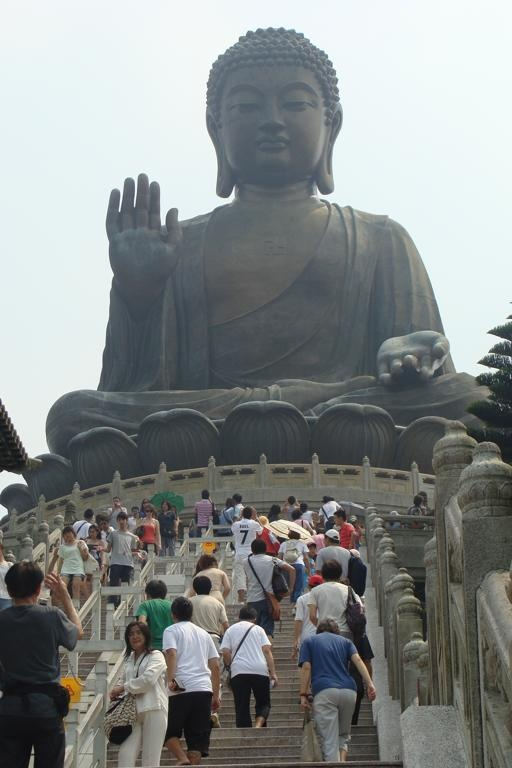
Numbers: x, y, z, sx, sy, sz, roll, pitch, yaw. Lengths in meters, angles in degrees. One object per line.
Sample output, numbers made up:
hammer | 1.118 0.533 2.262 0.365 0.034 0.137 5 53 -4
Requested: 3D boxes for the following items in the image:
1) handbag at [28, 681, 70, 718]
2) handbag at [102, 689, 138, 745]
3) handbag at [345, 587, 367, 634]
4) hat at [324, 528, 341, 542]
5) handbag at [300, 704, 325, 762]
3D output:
handbag | -0.691 1.055 3.734 0.122 0.119 0.096 -12 0 -32
handbag | -0.594 1.475 4.868 0.119 0.199 0.244 8 25 -2
handbag | 0.544 1.237 5.971 0.066 0.260 0.165 -9 -14 35
hat | 0.558 1.079 7.811 0.113 0.131 0.097 4 3 -14
handbag | 0.259 1.575 4.956 0.093 0.352 0.210 0 -32 -3
